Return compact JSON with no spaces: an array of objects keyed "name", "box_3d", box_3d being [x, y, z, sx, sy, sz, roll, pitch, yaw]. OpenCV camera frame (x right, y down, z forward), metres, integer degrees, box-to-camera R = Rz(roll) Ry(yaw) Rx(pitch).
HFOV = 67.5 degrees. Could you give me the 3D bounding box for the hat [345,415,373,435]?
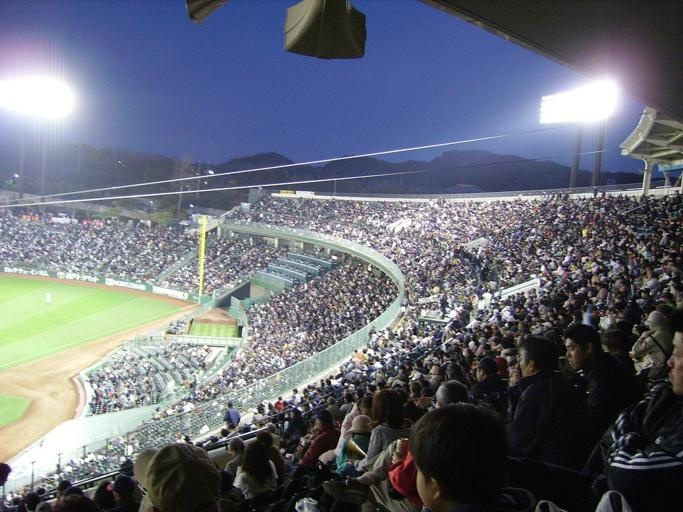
[{"name":"hat","box_3d":[0.159,1.412,4.285,0.169,0.071,0.147,10,-11,-20]}]
